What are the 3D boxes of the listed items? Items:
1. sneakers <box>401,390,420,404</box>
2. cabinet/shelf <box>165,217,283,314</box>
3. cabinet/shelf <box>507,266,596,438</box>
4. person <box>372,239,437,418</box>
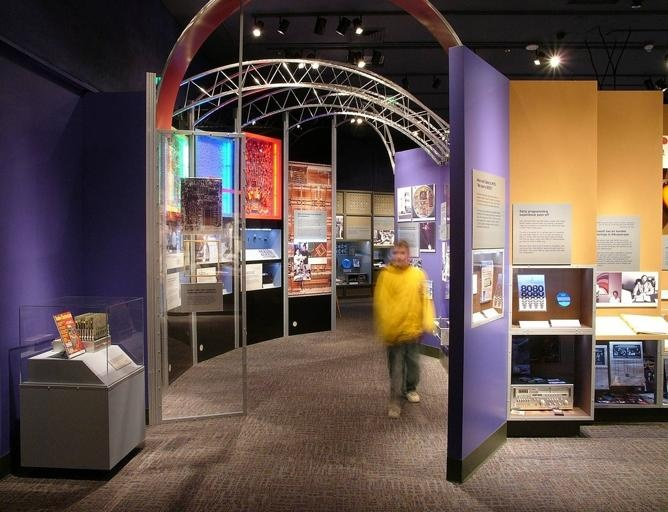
[{"bbox_3d":[0.986,1.752,6.279,0.119,0.151,0.338,1,-4,-28],"label":"sneakers"},{"bbox_3d":[-1.460,0.124,6.463,1.512,1.460,0.509,0,-1,-13],"label":"cabinet/shelf"},{"bbox_3d":[2.379,0.916,5.414,0.859,1.611,0.609,1,7,10],"label":"cabinet/shelf"},{"bbox_3d":[0.843,0.843,5.909,0.691,2.042,0.662,3,8,26],"label":"person"}]
